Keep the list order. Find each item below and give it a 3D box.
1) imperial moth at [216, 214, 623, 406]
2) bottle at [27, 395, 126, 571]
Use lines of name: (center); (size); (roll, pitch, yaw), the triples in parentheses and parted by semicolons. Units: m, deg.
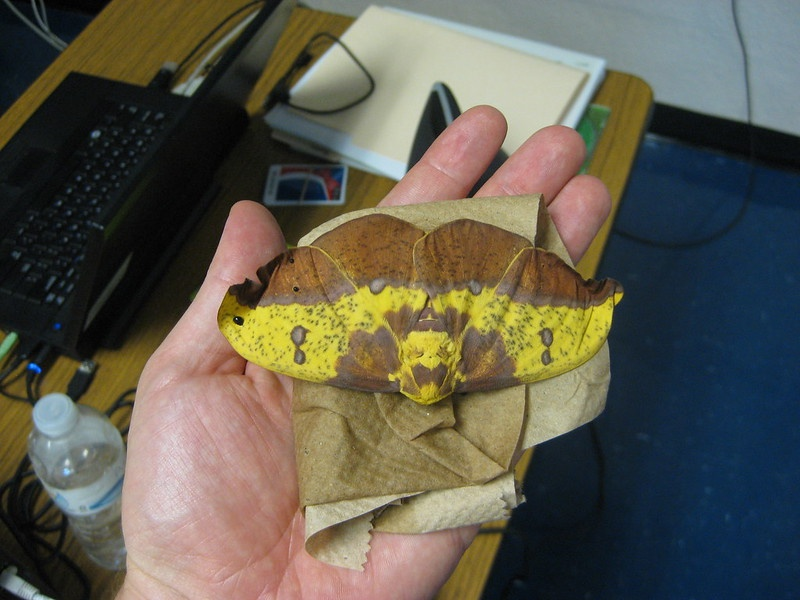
imperial moth: (0.036, 0.010, 1.334); (0.564, 0.335, 0.622); (2, 40, 2)
bottle: (-0.608, 0.402, 1.518); (0.127, 0.365, 0.144); (-9, 19, 10)
